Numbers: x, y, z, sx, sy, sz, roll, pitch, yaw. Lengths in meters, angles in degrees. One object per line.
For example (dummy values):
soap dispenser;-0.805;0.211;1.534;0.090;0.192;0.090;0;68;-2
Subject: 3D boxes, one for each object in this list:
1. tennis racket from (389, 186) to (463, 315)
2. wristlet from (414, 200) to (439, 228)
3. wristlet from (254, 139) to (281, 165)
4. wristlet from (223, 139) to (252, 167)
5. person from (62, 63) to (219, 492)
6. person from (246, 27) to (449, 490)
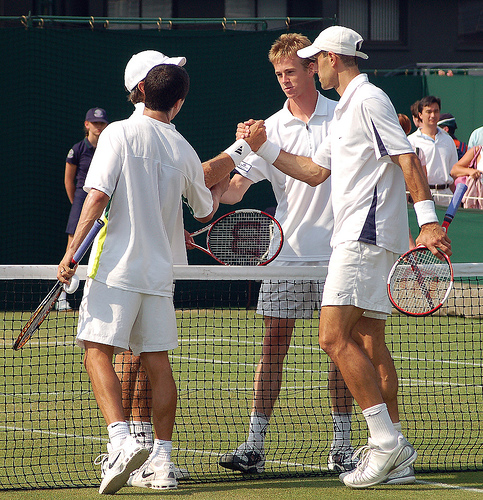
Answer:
tennis racket;1.025;-0.031;5.226;0.344;1.114;0.091;5;49;-4
wristlet;0.979;-0.199;5.229;0.119;0.207;0.116;-6;-13;18
wristlet;0.159;-0.601;6.030;0.116;0.153;0.132;-16;34;-41
wristlet;-0.015;-0.602;6.024;0.146;0.147;0.148;-38;11;-30
person;-0.543;0.143;5.365;0.596;2.260;0.803;9;12;39
person;0.658;0.043;5.592;1.018;2.528;0.775;4;10;14
